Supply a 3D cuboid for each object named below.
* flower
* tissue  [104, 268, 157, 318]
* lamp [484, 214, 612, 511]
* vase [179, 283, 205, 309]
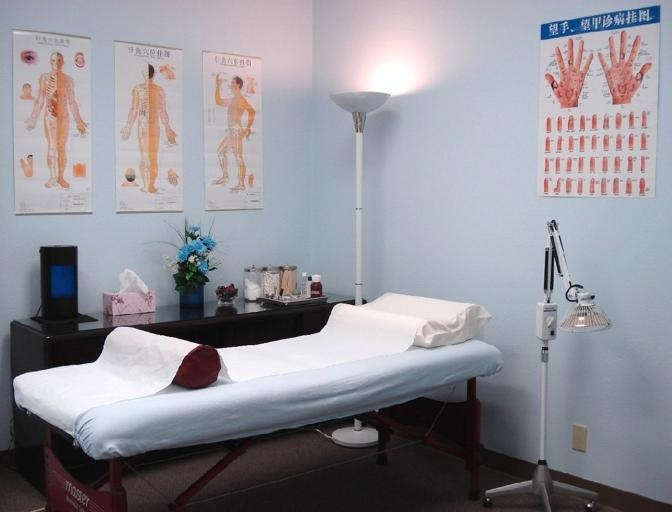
[{"bbox_3d":[-0.909,0.006,3.385,0.458,0.449,0.341,-3,10,-29],"label":"flower"},{"bbox_3d":[-1.152,0.241,3.148,0.239,0.245,0.158,-6,-22,-2],"label":"tissue "},{"bbox_3d":[1.082,0.543,2.638,0.473,1.431,0.507,9,11,36],"label":"lamp"},{"bbox_3d":[-0.880,0.251,3.311,0.136,0.140,0.131,0,0,14],"label":"vase"}]
